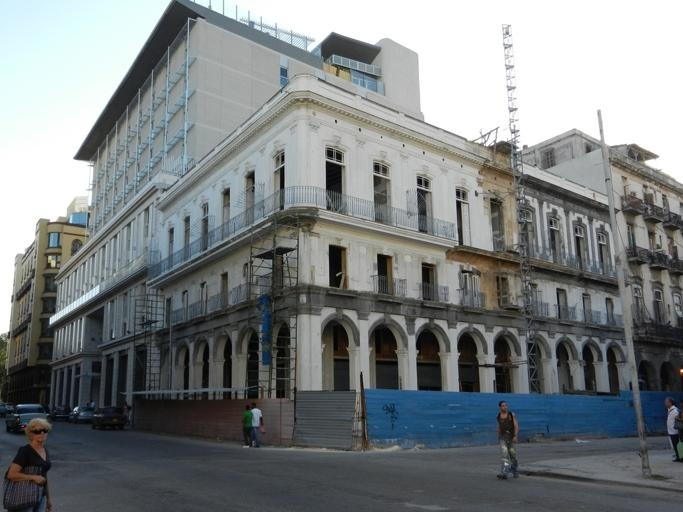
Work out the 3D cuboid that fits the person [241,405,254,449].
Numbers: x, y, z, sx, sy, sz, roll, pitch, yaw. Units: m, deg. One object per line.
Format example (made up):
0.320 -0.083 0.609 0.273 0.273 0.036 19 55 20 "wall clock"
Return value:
-4.187 7.601 27.915 0.397 1.827 1.436 1 -18 -8 "person"
